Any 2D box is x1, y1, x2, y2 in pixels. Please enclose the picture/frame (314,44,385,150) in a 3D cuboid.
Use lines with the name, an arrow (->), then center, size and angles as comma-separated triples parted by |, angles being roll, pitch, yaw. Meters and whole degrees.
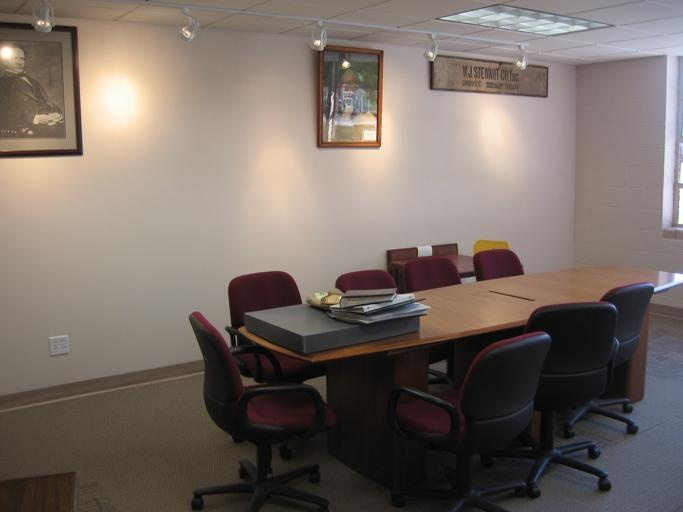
picture/frame -> 0.048, -1.638, 5.336 | 0.952, 1.239, 0.077 | -9, 19, -31
